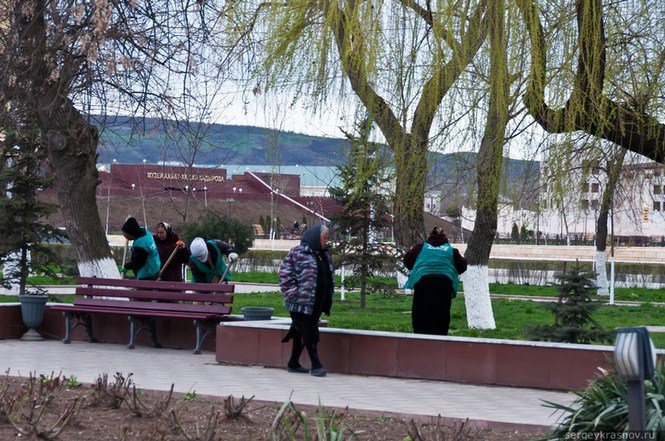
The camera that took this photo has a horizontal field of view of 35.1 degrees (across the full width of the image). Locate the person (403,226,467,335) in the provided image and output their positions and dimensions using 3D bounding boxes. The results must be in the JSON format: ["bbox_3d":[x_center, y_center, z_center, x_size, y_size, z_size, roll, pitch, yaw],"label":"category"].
[{"bbox_3d":[1.515,1.102,15.872,0.835,1.926,0.761,11,-25,-4],"label":"person"}]

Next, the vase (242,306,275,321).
[{"bbox_3d":[-1.209,1.511,16.895,0.483,0.193,0.419,1,-2,-7],"label":"vase"}]

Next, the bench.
[{"bbox_3d":[-3.008,1.524,16.998,2.818,1.053,0.696,2,9,17],"label":"bench"}]

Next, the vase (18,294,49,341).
[{"bbox_3d":[-5.072,1.648,17.784,0.448,0.764,0.373,1,-2,-18],"label":"vase"}]

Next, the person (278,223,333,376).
[{"bbox_3d":[-0.389,1.167,15.415,0.783,2.187,0.492,1,-2,-1],"label":"person"}]

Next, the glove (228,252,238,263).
[{"bbox_3d":[-1.592,0.606,16.928,0.121,0.063,0.165,-4,-10,-23],"label":"glove"}]

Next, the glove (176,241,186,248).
[{"bbox_3d":[-2.528,0.414,17.450,0.123,0.072,0.172,3,1,-1],"label":"glove"}]
